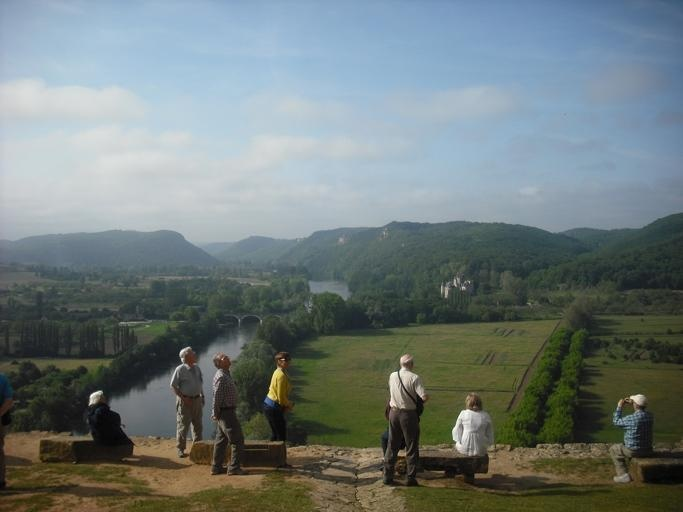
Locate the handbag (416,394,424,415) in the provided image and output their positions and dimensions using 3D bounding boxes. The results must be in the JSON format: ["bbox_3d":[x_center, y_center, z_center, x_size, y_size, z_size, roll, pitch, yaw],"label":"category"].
[{"bbox_3d":[3.112,5.825,27.708,0.336,0.832,1.039,0,-2,6],"label":"handbag"}]

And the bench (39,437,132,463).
[{"bbox_3d":[-10.623,7.983,28.996,3.492,0.920,0.528,0,-2,0],"label":"bench"}]

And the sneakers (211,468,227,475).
[{"bbox_3d":[-4.914,8.607,28.261,0.622,0.246,0.235,-1,4,-17],"label":"sneakers"}]

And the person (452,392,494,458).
[{"bbox_3d":[5.213,6.679,27.965,1.508,2.533,0.643,0,-2,8],"label":"person"}]

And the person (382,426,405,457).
[{"bbox_3d":[1.927,7.459,28.869,0.969,0.495,1.291,10,36,16],"label":"person"}]
